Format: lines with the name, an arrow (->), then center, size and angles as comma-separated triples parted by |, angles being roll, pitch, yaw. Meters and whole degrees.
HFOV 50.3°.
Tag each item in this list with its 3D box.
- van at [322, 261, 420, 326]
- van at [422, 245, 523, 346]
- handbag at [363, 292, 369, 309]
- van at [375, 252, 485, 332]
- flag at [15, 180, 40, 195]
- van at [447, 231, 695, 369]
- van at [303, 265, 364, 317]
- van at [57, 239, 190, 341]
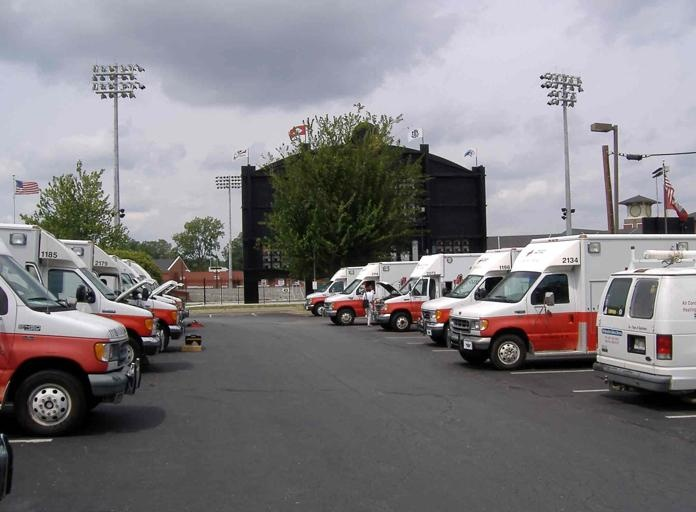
van -> 1.042, 1.643, 34.412 | 4.058, 2.609, 2.250 | -1, -1, -7
van -> 3.694, 1.106, 22.995 | 3.512, 2.387, 1.969 | 1, -2, -14
handbag -> 0.773, 1.941, 32.708 | 0.318, 0.968, 0.622 | -3, 5, -1
van -> 3.226, 1.316, 28.178 | 3.789, 2.455, 2.228 | 0, -1, -9
flag -> -17.978, -3.830, 41.512 | 1.374, 0.674, 0.533 | -1, 1, 8
van -> 4.917, 1.149, 19.052 | 5.740, 3.294, 2.926 | 1, -3, -9
van -> -0.557, 1.738, 40.034 | 3.447, 2.325, 1.817 | 1, -2, -6
van -> -7.247, 0.861, 21.502 | 4.628, 3.034, 2.932 | -1, 0, -3
